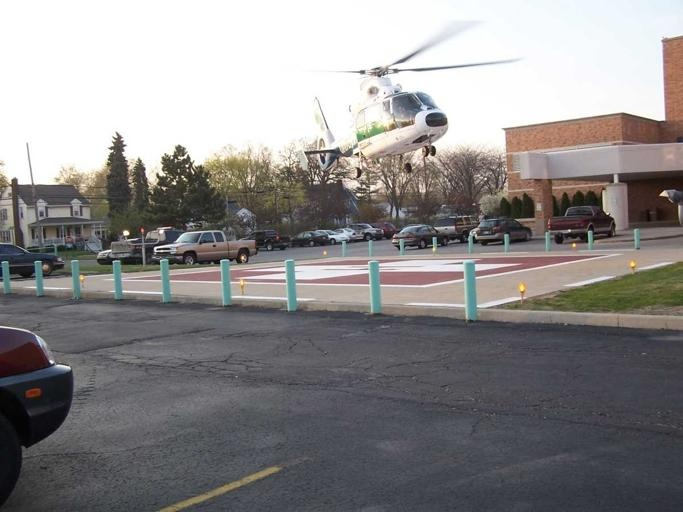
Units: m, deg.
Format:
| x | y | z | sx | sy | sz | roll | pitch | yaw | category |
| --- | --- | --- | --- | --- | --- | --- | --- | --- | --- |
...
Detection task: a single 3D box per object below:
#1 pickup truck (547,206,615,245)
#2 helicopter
| x | y | z | sx | sy | sz | roll | pitch | yaw | category |
| --- | --- | --- | --- | --- | --- | --- | --- | --- | --- |
| 12.828 | -1.726 | 33.891 | 5.986 | 2.027 | 2.334 | 0 | 0 | -44 | pickup truck |
| 2.900 | -7.236 | 32.466 | 8.045 | 3.967 | 11.325 | -2 | -2 | -18 | helicopter |
